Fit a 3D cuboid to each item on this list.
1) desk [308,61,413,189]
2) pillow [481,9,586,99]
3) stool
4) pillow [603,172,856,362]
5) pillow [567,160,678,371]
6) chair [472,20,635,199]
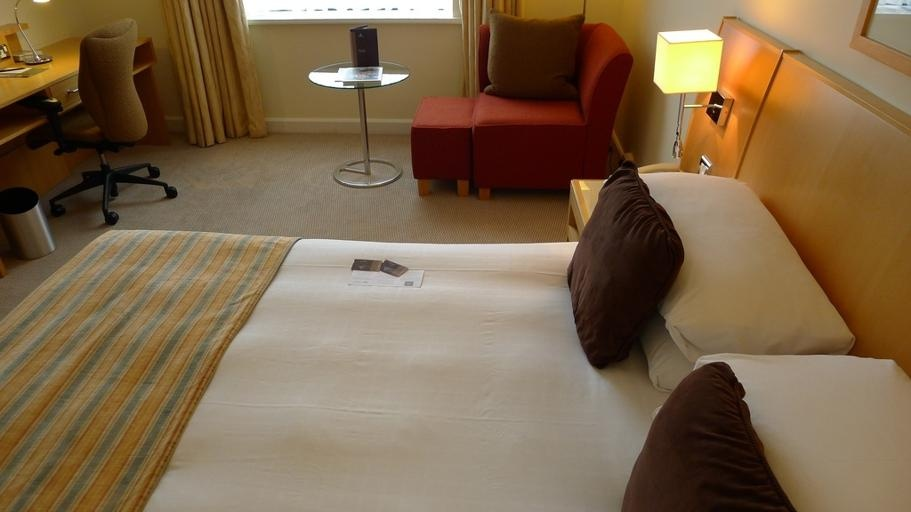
[{"bbox_3d":[-0.707,-1.186,5.127,1.132,1.092,1.099,-2,35,-3],"label":"desk"},{"bbox_3d":[0.626,-1.584,4.611,0.826,0.634,0.415,4,36,6],"label":"pillow"},{"bbox_3d":[0.000,-0.964,4.798,0.664,0.678,1.043,3,39,1],"label":"stool"},{"bbox_3d":[1.143,0.182,2.493,0.664,0.286,1.046,-9,46,-2],"label":"pillow"},{"bbox_3d":[0.774,0.080,2.643,0.431,0.661,0.922,0,40,1],"label":"pillow"},{"bbox_3d":[0.751,-1.188,4.817,1.362,1.211,1.256,2,46,3],"label":"chair"}]
